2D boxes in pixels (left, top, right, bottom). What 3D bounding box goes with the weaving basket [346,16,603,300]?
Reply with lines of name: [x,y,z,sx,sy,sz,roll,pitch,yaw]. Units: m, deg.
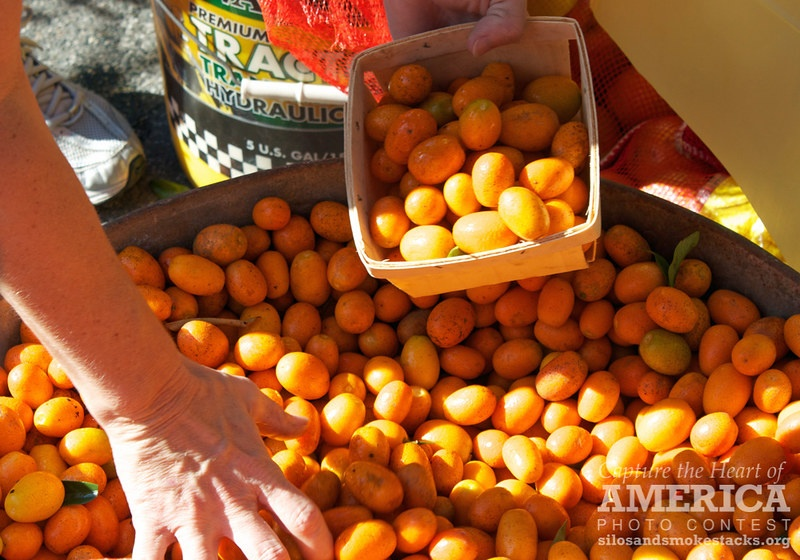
weaving basket: [0.196,-0.271,1.906,0.704,0.324,0.815,-11,73,19]
